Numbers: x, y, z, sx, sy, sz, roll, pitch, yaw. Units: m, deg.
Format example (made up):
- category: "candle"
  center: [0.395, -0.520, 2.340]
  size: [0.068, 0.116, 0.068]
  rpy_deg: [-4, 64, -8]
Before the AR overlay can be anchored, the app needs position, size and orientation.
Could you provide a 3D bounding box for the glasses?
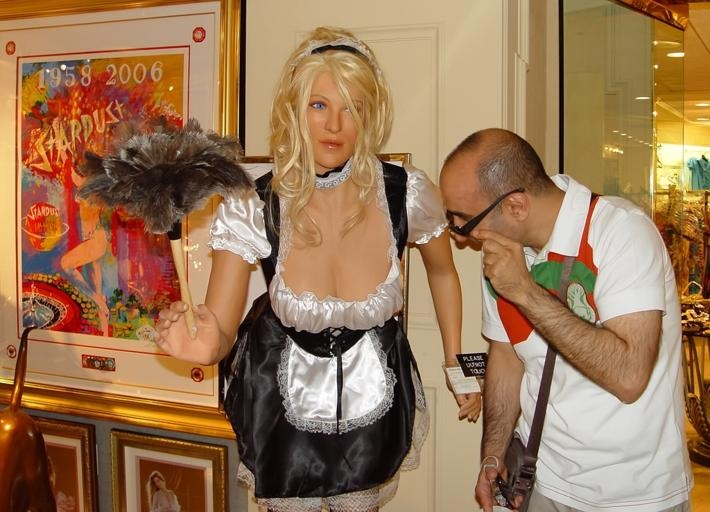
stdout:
- category: "glasses"
  center: [0.494, -0.165, 2.417]
  size: [0.203, 0.058, 0.198]
  rpy_deg: [-39, 5, -8]
